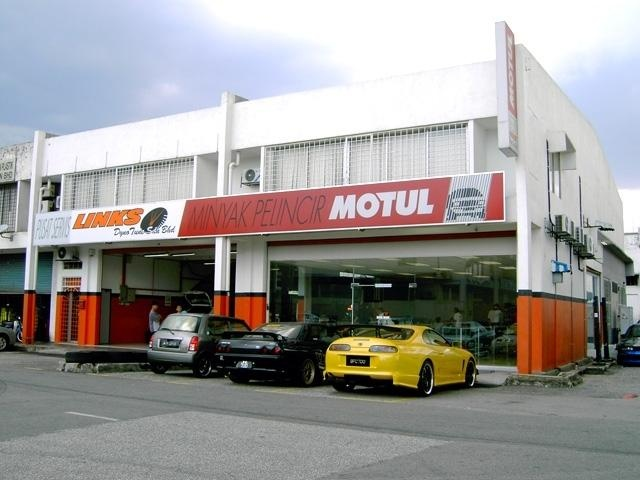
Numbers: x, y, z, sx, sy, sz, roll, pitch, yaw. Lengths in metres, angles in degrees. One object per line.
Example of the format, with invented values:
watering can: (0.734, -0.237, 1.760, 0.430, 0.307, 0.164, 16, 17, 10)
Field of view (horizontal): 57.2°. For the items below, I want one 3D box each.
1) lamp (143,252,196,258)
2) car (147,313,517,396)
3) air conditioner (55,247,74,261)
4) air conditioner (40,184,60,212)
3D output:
lamp: (-7.492, 0.708, 29.264, 2.393, 0.380, 0.187, 4, 1, -11)
car: (0.524, 2.963, 15.120, 5.683, 1.710, 2.916, -4, -10, 25)
air conditioner: (-12.386, 0.629, 28.463, 1.034, 0.804, 0.567, -1, -6, 19)
air conditioner: (-13.145, -2.088, 28.453, 0.884, 1.395, 0.571, 4, -9, -22)
